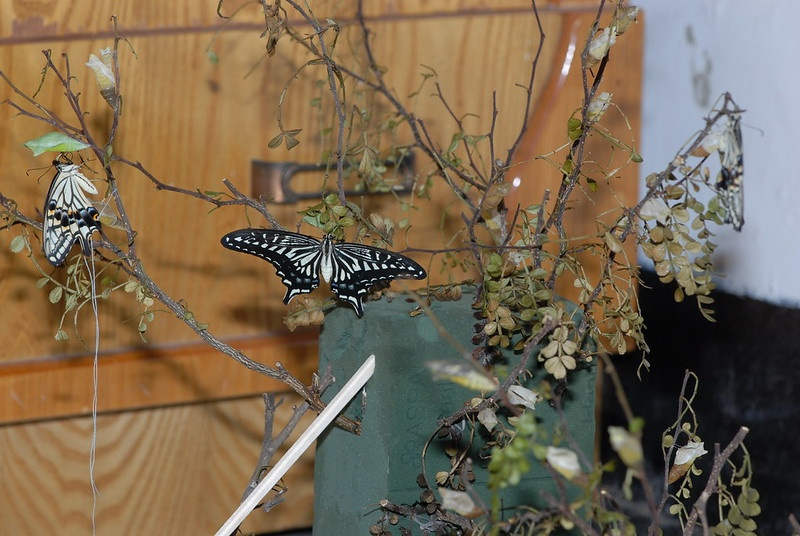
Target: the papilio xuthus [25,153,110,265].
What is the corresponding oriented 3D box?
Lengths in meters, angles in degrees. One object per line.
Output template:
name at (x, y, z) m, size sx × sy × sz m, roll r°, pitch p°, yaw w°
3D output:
papilio xuthus at (-0.657, -0.107, 3.273) m, size 0.114 × 0.213 × 0.202 m, roll 0°, pitch -15°, yaw -14°
